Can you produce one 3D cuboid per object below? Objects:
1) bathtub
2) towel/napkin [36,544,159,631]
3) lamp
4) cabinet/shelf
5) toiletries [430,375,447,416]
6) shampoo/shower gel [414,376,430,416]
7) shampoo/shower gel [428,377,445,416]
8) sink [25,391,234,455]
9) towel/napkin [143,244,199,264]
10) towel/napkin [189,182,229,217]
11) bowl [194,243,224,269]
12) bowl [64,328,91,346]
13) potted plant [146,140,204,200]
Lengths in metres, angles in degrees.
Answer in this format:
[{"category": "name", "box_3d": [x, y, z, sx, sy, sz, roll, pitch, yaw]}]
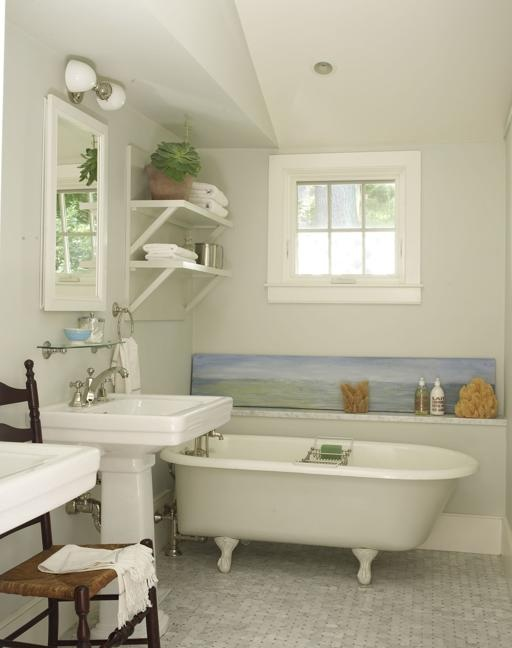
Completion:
[{"category": "bathtub", "box_3d": [0.305, 0.849, 2.813, 1.476, 0.431, 0.601, 1, -3, -1]}, {"category": "towel/napkin", "box_3d": [-0.451, 0.701, 1.636, 0.278, 0.115, 0.266, 1, -2, 12]}, {"category": "lamp", "box_3d": [-0.623, -0.921, 2.243, 0.216, 0.120, 0.096, 9, 4, -39]}, {"category": "cabinet/shelf", "box_3d": [-0.417, -0.517, 3.137, 0.411, 1.034, 1.186, 0, 0, 7]}, {"category": "toiletries", "box_3d": [1.065, 0.426, 3.337, 0.088, 0.209, 0.067, 3, -4, -23]}, {"category": "shampoo/shower gel", "box_3d": [0.975, 0.426, 3.356, 0.086, 0.211, 0.119, 0, -3, 14]}, {"category": "shampoo/shower gel", "box_3d": [1.061, 0.426, 3.338, 0.085, 0.209, 0.073, 2, -3, -11]}, {"category": "sink", "box_3d": [-0.445, 0.348, 1.989, 0.351, 0.082, 0.372, 0, -1, 15]}, {"category": "towel/napkin", "box_3d": [-0.421, -0.343, 2.837, 0.186, 0.070, 0.228, 2, 5, 13]}, {"category": "towel/napkin", "box_3d": [-0.256, -0.714, 3.282, 0.230, 0.076, 0.225, 8, 6, 12]}, {"category": "bowl", "box_3d": [-0.254, -0.407, 3.391, 0.207, 0.164, 0.114, -1, 1, -33]}, {"category": "bowl", "box_3d": [-0.664, 0.046, 2.164, 0.076, 0.043, 0.072, 5, -1, 0]}, {"category": "potted plant", "box_3d": [-0.419, -0.755, 2.880, 0.294, 0.279, 0.288, 13, 18, 25]}]
